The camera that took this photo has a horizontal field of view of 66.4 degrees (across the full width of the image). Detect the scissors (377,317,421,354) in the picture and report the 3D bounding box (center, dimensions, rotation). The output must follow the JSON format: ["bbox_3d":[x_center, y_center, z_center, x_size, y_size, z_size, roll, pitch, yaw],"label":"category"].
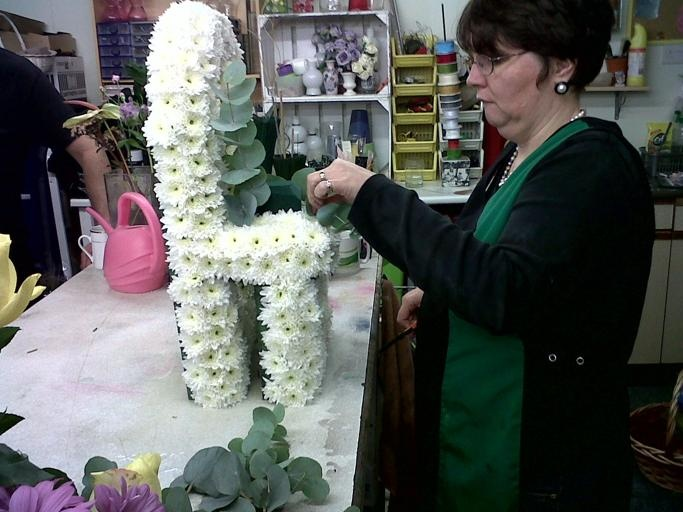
[{"bbox_3d":[0.167,0.255,1.610,0.043,0.050,0.301,4,-26,-21],"label":"scissors"}]

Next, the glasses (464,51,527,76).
[{"bbox_3d":[0.307,-0.379,1.025,0.070,0.022,0.068,-18,25,-19],"label":"glasses"}]

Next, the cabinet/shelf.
[{"bbox_3d":[0.219,-0.948,3.030,1.515,1.361,0.495,-2,16,7],"label":"cabinet/shelf"}]

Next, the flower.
[{"bbox_3d":[-0.213,-0.107,1.125,0.367,0.848,0.227,-5,14,-7],"label":"flower"}]

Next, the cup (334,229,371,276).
[{"bbox_3d":[0.063,-0.019,1.836,0.164,0.163,0.102,2,24,3],"label":"cup"}]
